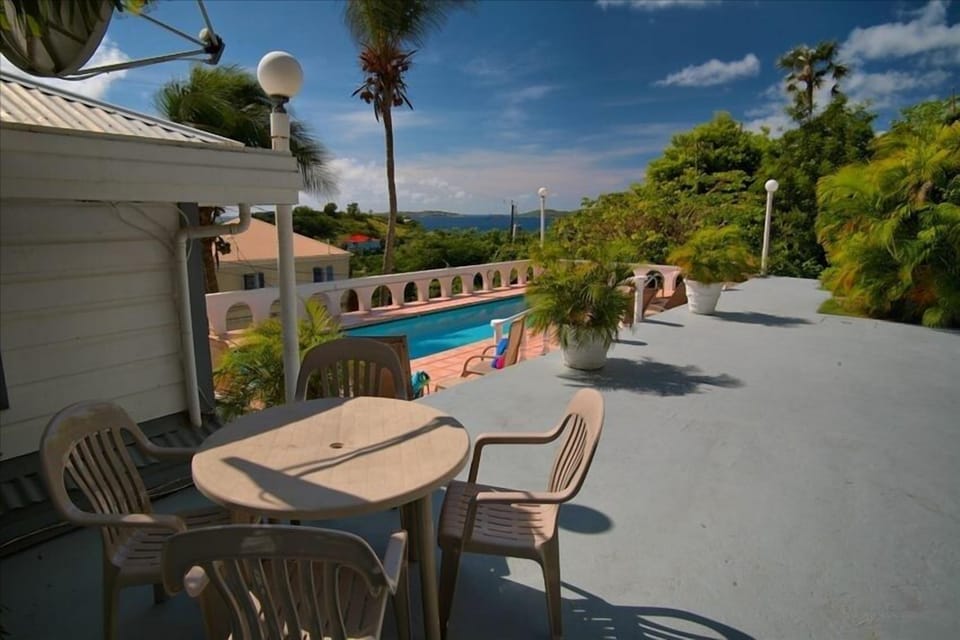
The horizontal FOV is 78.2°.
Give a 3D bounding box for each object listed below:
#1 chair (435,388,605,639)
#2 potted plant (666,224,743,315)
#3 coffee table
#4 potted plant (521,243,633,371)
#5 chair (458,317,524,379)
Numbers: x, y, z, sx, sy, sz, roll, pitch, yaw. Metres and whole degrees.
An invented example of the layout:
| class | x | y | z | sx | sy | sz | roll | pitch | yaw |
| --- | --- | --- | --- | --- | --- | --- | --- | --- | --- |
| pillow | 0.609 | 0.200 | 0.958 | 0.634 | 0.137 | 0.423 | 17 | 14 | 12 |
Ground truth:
| class | x | y | z | sx | sy | sz | roll | pitch | yaw |
| --- | --- | --- | --- | --- | --- | --- | --- | --- | --- |
| chair | 0.215 | 1.033 | 4.216 | 1.284 | 1.899 | 1.279 | 3 | 9 | -2 |
| potted plant | 3.702 | -0.707 | 9.545 | 1.058 | 1.366 | 0.626 | 11 | 16 | 39 |
| coffee table | -0.743 | 0.806 | 3.625 | 1.330 | 1.019 | 1.371 | 7 | 26 | 19 |
| potted plant | 1.280 | -0.175 | 7.127 | 1.347 | 1.450 | 1.357 | -7 | 11 | -36 |
| chair | 0.250 | 0.355 | 8.203 | 0.796 | 1.270 | 0.713 | 5 | 19 | 15 |
